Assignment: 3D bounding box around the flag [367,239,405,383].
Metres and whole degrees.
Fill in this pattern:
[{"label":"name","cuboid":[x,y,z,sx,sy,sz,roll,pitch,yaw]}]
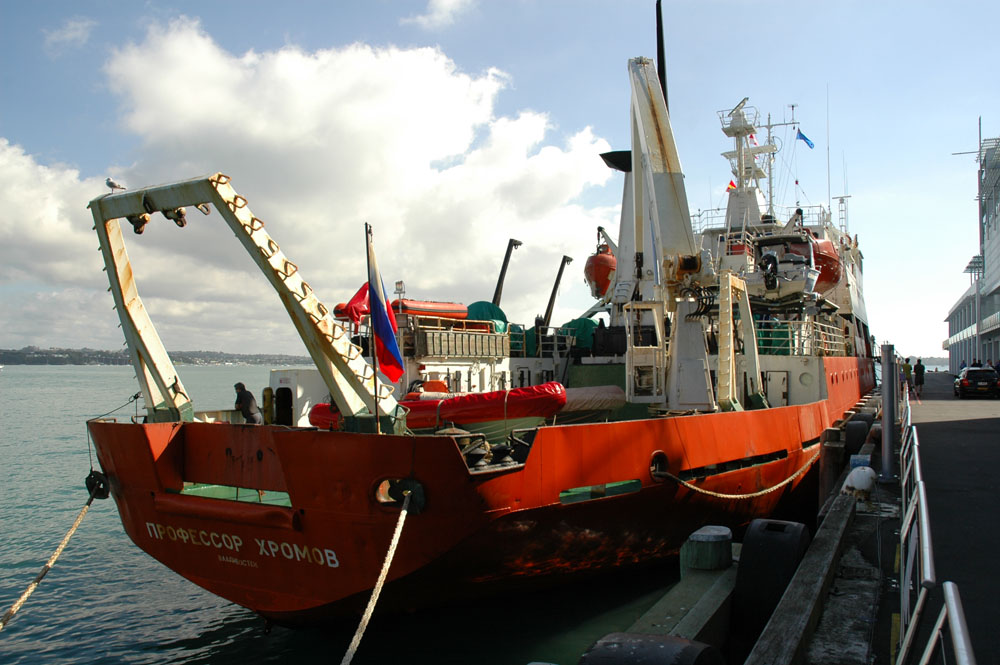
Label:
[{"label":"flag","cuboid":[-1.691,-0.335,11.340,0.528,2.184,0.755,2,1,-3]}]
